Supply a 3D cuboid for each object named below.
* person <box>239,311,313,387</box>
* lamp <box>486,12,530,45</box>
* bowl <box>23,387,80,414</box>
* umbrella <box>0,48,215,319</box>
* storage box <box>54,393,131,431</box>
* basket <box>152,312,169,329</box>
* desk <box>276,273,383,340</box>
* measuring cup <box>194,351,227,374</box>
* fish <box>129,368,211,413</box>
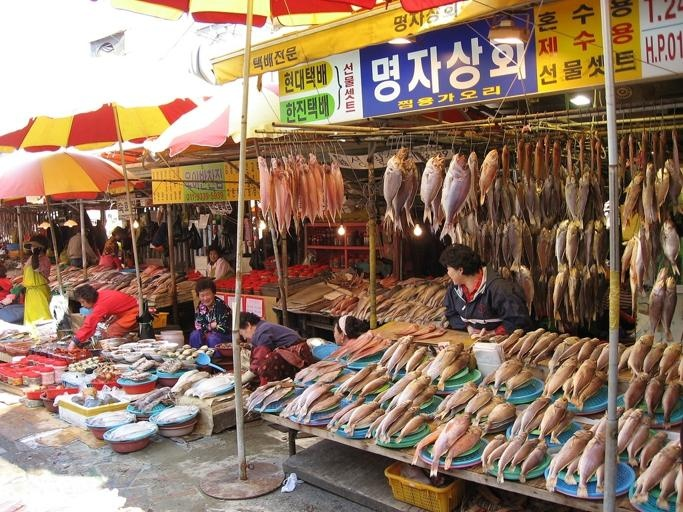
[{"bbox_3d":[-0.744,1.061,6.062,0.536,0.440,0.793,-30,31,-14],"label":"person"},{"bbox_3d":[1.270,-1.710,4.085,0.238,0.244,0.260,0,1,1],"label":"lamp"},{"bbox_3d":[-3.580,1.701,6.512,0.341,0.180,0.484,2,-6,-16],"label":"bowl"},{"bbox_3d":[-3.173,-1.548,8.622,3.602,3.270,3.985,-5,9,-35],"label":"umbrella"},{"bbox_3d":[-2.860,1.723,6.017,0.516,0.175,0.398,2,-1,34],"label":"storage box"},{"bbox_3d":[-3.107,1.100,9.248,0.264,0.249,0.340,0,1,39],"label":"basket"},{"bbox_3d":[-0.237,0.759,8.357,1.099,0.402,1.122,9,11,40],"label":"desk"},{"bbox_3d":[-1.641,1.348,6.705,0.100,0.182,0.584,-3,15,-34],"label":"measuring cup"},{"bbox_3d":[-1.933,1.529,6.030,0.480,0.093,0.525,-25,-3,2],"label":"fish"}]
